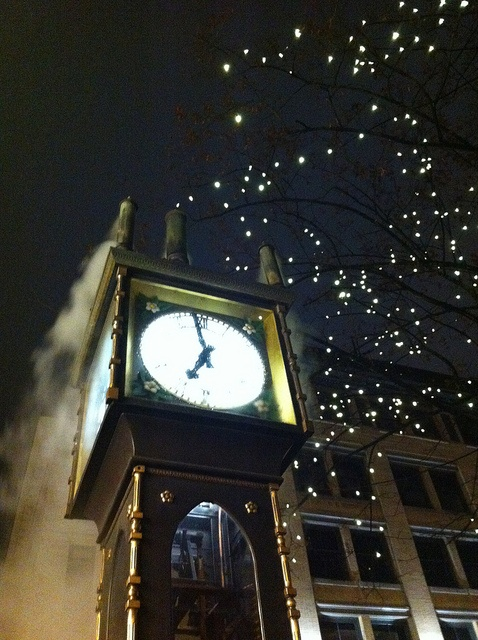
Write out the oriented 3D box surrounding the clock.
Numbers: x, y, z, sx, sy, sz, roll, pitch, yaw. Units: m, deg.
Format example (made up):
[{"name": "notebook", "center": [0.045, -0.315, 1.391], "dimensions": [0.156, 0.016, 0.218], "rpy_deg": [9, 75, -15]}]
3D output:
[{"name": "clock", "center": [-0.247, 0.259, 4.039], "dimensions": [1.208, 1.055, 0.181], "rpy_deg": [9, -50, -17]}]
